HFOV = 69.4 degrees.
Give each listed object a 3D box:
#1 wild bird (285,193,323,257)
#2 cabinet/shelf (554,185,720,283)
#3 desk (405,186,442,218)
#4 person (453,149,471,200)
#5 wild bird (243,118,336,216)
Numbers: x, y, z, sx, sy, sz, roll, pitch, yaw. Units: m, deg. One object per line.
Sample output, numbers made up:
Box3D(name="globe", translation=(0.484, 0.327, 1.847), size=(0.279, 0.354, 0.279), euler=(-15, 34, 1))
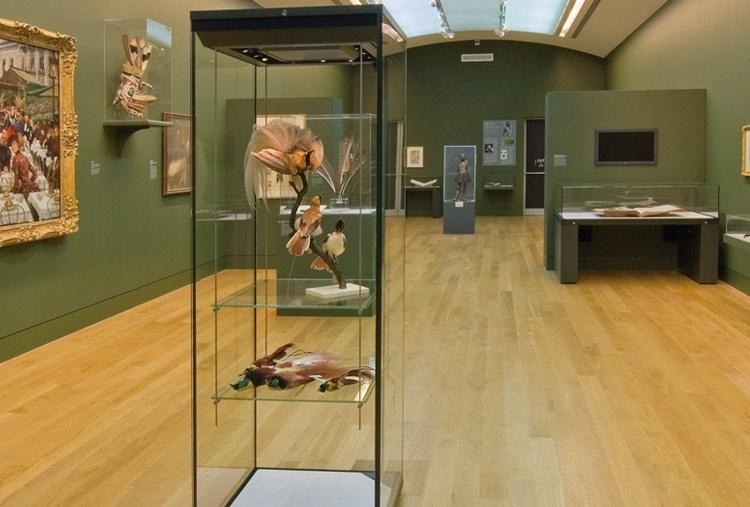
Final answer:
Box3D(name="wild bird", translation=(-0.334, -0.145, 2.593), size=(0.101, 0.205, 0.283), euler=(18, 39, 10))
Box3D(name="cabinet/shelf", translation=(4.051, -0.687, 8.647), size=(2.540, 1.842, 1.444), euler=(0, 5, 7))
Box3D(name="desk", translation=(1.524, -1.666, 16.679), size=(1.458, 1.310, 0.790), euler=(1, 3, 18))
Box3D(name="person", translation=(2.159, -1.926, 13.350), size=(0.336, 1.158, 0.136), euler=(4, 12, 20))
Box3D(name="wild bird", translation=(-0.464, -0.448, 2.641), size=(0.380, 0.386, 0.350), euler=(7, 8, 24))
